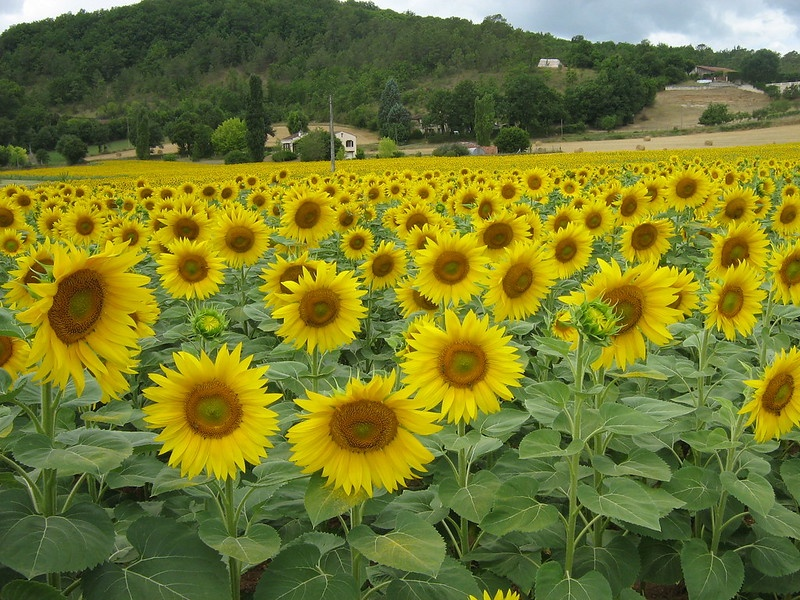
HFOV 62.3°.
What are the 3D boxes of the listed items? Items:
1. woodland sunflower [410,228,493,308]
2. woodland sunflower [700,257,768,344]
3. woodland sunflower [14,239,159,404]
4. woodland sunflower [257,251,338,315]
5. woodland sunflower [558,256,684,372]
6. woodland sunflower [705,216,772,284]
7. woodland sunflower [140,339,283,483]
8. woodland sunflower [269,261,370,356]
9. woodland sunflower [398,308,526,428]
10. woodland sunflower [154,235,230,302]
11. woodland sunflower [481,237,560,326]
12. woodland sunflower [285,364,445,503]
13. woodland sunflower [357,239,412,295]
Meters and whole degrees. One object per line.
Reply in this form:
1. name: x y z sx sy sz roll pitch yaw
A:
1. woodland sunflower: 0.336 -0.201 4.538 0.658 0.673 0.096 0 11 -2
2. woodland sunflower: 1.933 0.016 3.846 0.467 0.469 0.215 -7 22 -29
3. woodland sunflower: -1.338 0.081 2.879 0.543 0.671 0.251 -6 21 -27
4. woodland sunflower: -0.720 -0.172 4.452 0.459 0.466 0.107 -23 41 -10
5. woodland sunflower: 1.278 0.024 3.560 0.288 0.593 0.662 -12 20 -24
6. woodland sunflower: 2.289 -0.348 4.606 0.469 0.443 0.164 -11 12 -3
7. woodland sunflower: -0.841 0.504 2.966 0.602 0.586 0.123 1 -2 4
8. woodland sunflower: -0.505 0.055 3.946 0.746 0.745 0.249 -2 14 -11
9. woodland sunflower: 0.315 0.353 3.235 0.617 0.189 0.571 16 30 23
10. woodland sunflower: -1.755 -0.260 5.601 0.617 0.618 0.118 3 -4 -18
11. woodland sunflower: 0.818 -0.145 4.627 0.626 0.636 0.175 -12 20 -22
12. woodland sunflower: -0.165 0.633 3.082 0.800 0.675 0.198 1 4 -4
13. woodland sunflower: -0.151 -0.307 5.387 0.437 0.411 0.186 -12 25 -13
